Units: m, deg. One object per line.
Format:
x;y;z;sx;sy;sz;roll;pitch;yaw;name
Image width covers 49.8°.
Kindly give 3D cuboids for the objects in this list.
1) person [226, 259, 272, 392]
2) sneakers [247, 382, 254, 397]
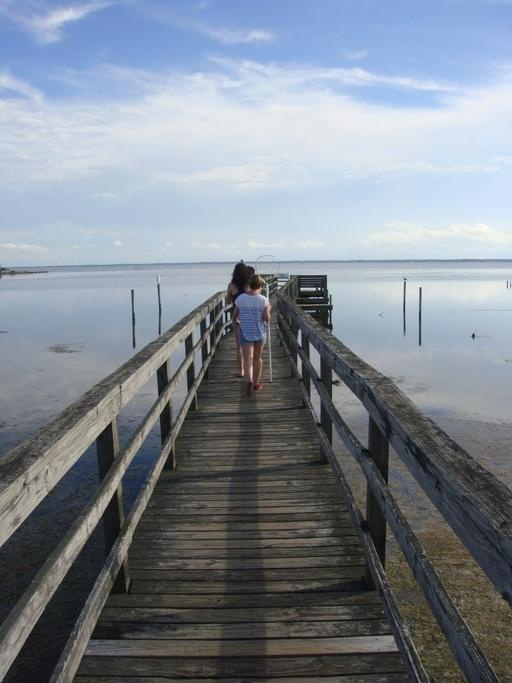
-0.077;-0.111;6.346;0.402;1.500;1.269;-2;9;-3;person
-0.063;0.552;6.369;0.061;0.050;0.156;3;32;2;sneakers
